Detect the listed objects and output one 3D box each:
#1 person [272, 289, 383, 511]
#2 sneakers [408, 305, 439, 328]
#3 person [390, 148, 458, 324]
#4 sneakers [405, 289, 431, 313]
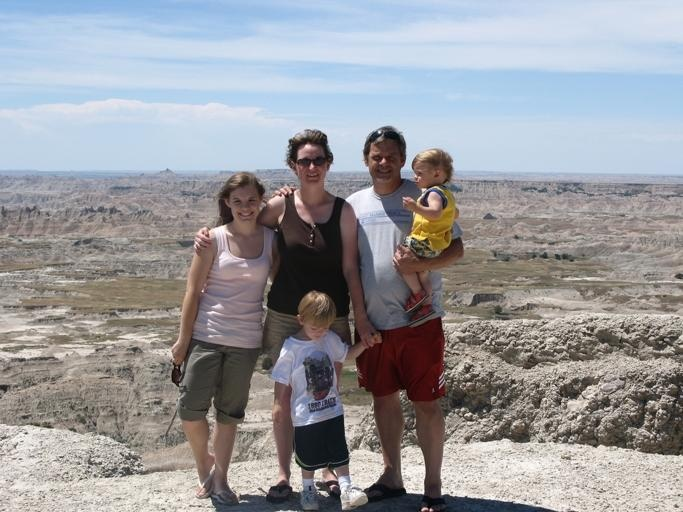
[{"bbox_3d":[-0.184,1.175,4.835,0.767,1.787,0.529,-7,-5,3],"label":"person"},{"bbox_3d":[0.673,0.520,5.004,0.301,0.151,0.127,-23,-25,8],"label":"sneakers"},{"bbox_3d":[0.729,-0.179,4.974,0.550,1.476,0.493,-8,-5,10],"label":"person"},{"bbox_3d":[0.620,0.386,5.009,0.259,0.106,0.106,-32,-17,5],"label":"sneakers"}]
